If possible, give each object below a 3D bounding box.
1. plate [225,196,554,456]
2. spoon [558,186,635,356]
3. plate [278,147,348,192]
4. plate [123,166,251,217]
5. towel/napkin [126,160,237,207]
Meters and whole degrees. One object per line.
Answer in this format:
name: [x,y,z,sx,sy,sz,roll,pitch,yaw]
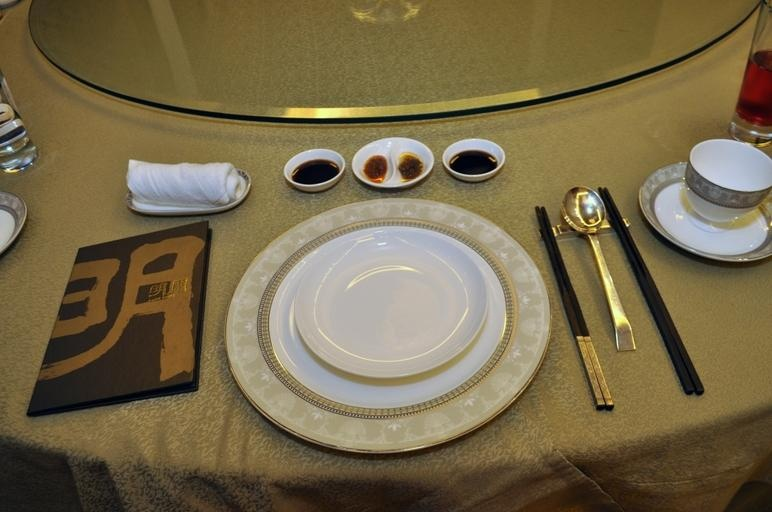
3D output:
plate: [-0.004,0.101,1.019,0.559,0.213,0.456,-15,35,-15]
spoon: [0.395,0.024,1.091,0.118,0.044,0.305,-2,57,-5]
plate: [-0.150,-0.166,1.225,0.119,0.028,0.118,29,24,29]
plate: [-0.426,-0.129,1.198,0.203,0.028,0.126,-2,54,-2]
towel/napkin: [-0.433,-0.142,1.227,0.182,0.068,0.105,-1,53,-1]
